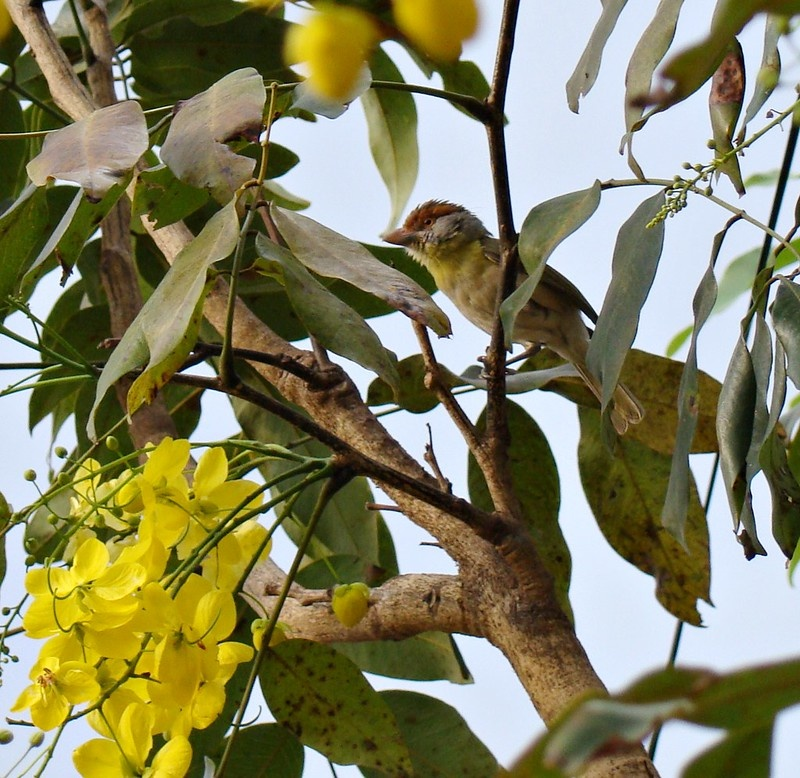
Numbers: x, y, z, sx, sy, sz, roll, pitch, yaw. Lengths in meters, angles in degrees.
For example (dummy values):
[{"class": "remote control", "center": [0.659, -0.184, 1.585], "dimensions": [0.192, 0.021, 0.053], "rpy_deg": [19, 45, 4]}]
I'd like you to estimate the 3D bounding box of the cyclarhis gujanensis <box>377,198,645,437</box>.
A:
[{"class": "cyclarhis gujanensis", "center": [0.263, -0.188, 3.194], "dimensions": [0.612, 0.331, 0.228], "rpy_deg": [16, -38, -14]}]
